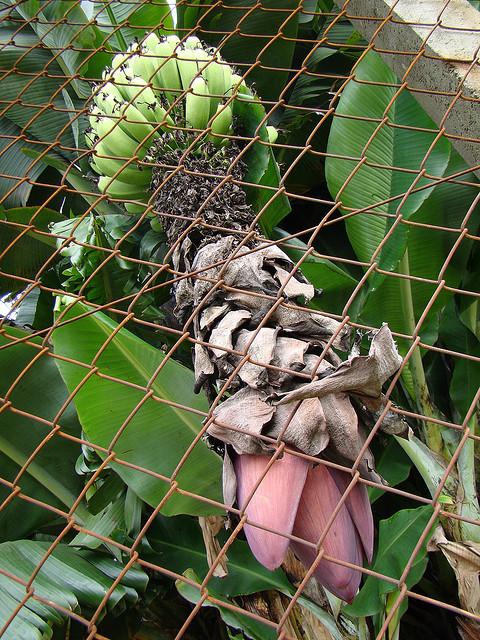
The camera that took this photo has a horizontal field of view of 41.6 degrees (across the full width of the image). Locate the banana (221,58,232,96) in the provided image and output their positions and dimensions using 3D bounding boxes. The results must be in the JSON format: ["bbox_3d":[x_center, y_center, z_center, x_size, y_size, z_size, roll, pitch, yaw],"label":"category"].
[{"bbox_3d":[-0.047,-0.672,1.719,0.022,0.028,0.103,-13,52,5],"label":"banana"}]

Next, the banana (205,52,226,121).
[{"bbox_3d":[-0.071,-0.608,1.658,0.054,0.068,0.174,-1,79,-12],"label":"banana"}]
